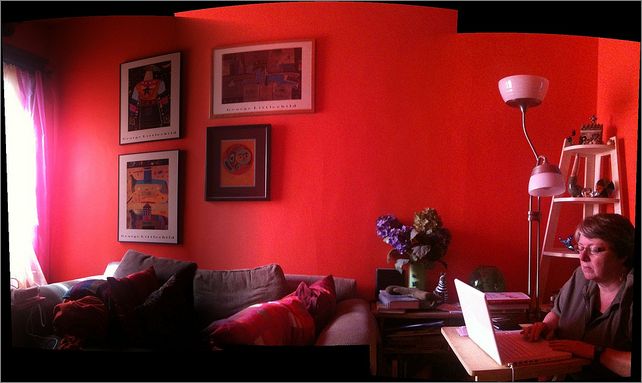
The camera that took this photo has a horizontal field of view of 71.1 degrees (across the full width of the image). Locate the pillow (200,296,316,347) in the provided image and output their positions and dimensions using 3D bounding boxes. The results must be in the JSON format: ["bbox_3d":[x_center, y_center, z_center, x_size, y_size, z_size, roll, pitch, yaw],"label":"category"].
[{"bbox_3d":[-0.315,0.820,2.757,0.372,0.129,0.386,-8,-4,7],"label":"pillow"}]

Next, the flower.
[{"bbox_3d":[0.626,0.327,3.062,0.495,0.434,0.111,-1,2,11],"label":"flower"}]

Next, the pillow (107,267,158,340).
[{"bbox_3d":[-1.256,0.743,2.946,0.418,0.354,0.118,-8,-20,-41],"label":"pillow"}]

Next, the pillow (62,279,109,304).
[{"bbox_3d":[-1.557,0.648,2.943,0.134,0.071,0.217,2,3,1],"label":"pillow"}]

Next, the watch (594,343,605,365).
[{"bbox_3d":[1.520,0.889,2.477,0.060,0.090,0.094,8,46,28],"label":"watch"}]

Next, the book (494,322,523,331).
[{"bbox_3d":[1.200,0.858,2.880,0.179,0.041,0.155,0,-1,6],"label":"book"}]

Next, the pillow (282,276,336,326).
[{"bbox_3d":[-0.055,0.707,2.983,0.295,0.251,0.089,-14,-31,14],"label":"pillow"}]

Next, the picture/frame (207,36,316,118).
[{"bbox_3d":[-0.400,-0.783,3.184,0.696,0.428,0.023,1,-10,6],"label":"picture/frame"}]

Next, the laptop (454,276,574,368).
[{"bbox_3d":[1.088,0.696,2.596,0.545,0.329,0.498,0,1,-7],"label":"laptop"}]

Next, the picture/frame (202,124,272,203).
[{"bbox_3d":[-0.589,-0.178,3.135,0.621,0.626,0.068,1,-9,-3],"label":"picture/frame"}]

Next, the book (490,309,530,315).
[{"bbox_3d":[1.208,0.767,2.897,0.161,0.031,0.137,0,-4,6],"label":"book"}]

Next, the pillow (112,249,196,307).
[{"bbox_3d":[-1.127,0.511,3.001,0.416,0.150,0.385,17,26,-1],"label":"pillow"}]
